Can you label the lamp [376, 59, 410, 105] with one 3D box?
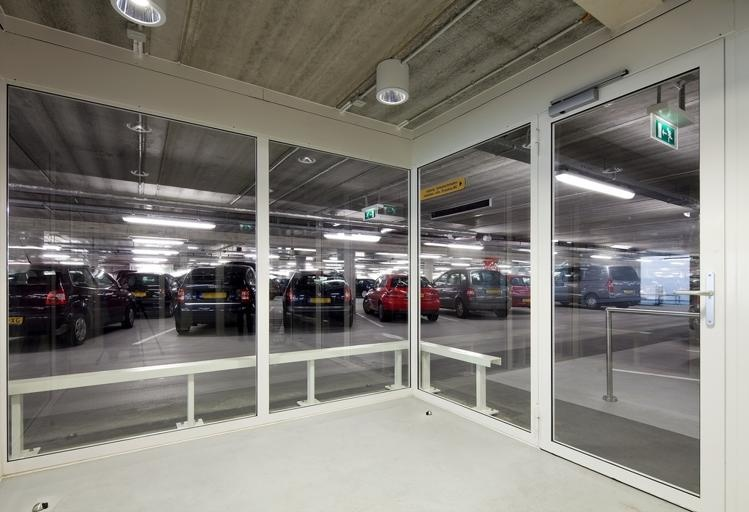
[{"bbox_3d":[0.209,-1.579,4.384,0.351,0.345,0.337,0,3,11],"label":"lamp"}]
